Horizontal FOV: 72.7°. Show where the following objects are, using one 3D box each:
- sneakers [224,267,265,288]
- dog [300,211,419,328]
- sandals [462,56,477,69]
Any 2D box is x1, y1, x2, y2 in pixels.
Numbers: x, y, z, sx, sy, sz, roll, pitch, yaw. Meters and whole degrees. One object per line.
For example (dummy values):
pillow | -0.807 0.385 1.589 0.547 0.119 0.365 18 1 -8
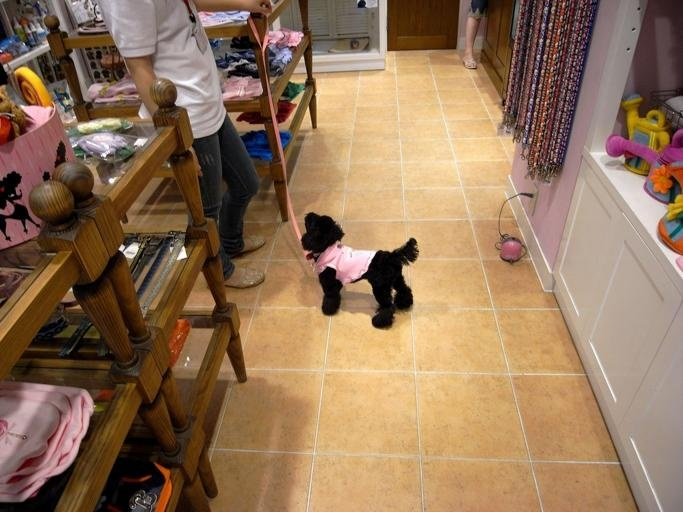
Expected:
sneakers | -0.593 0.128 2.834 0.216 0.061 0.112 6 46 3
dog | 0.054 0.066 2.512 0.642 0.568 0.269 10 21 18
sandals | 1.584 -2.351 5.675 0.086 0.087 0.203 -3 40 5
